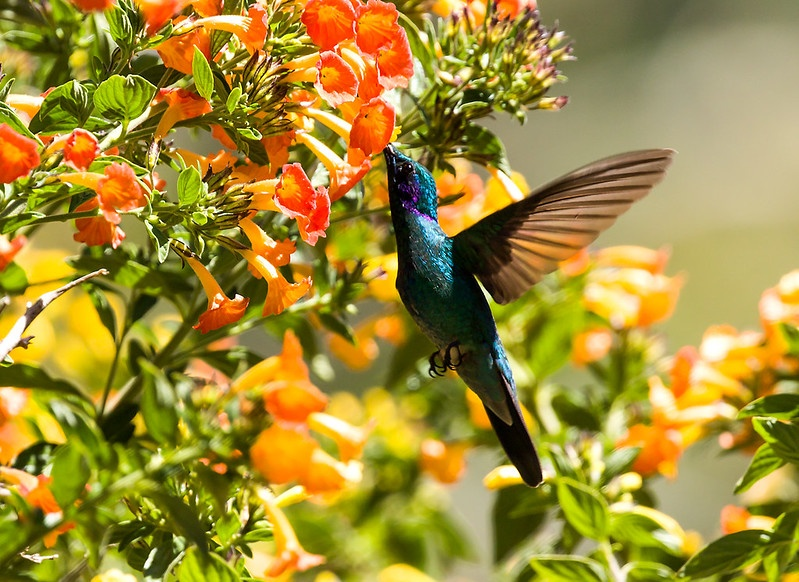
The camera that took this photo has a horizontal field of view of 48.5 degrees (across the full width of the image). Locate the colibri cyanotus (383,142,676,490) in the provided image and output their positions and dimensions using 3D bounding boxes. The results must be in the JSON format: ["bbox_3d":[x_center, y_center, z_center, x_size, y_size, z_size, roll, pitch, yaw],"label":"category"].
[{"bbox_3d":[0.255,-0.048,2.076,0.740,0.376,0.718,51,-17,-15],"label":"colibri cyanotus"}]
